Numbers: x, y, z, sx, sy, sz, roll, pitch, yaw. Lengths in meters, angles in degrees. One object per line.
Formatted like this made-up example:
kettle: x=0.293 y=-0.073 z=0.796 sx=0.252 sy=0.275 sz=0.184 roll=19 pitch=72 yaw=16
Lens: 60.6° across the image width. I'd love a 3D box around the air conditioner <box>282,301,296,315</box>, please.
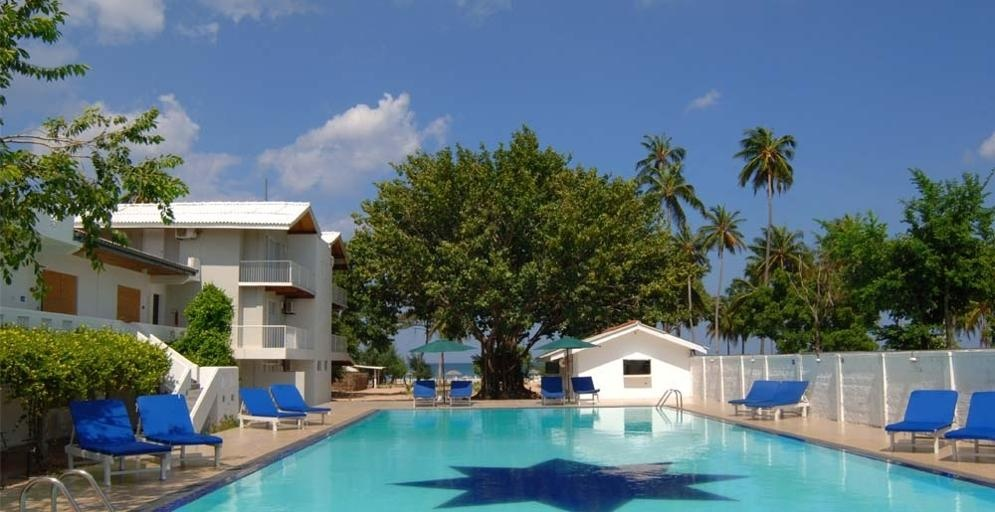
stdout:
air conditioner: x=-16.378 y=3.998 z=66.519 sx=0.917 sy=1.140 sz=1.197 roll=-5 pitch=-11 yaw=24
